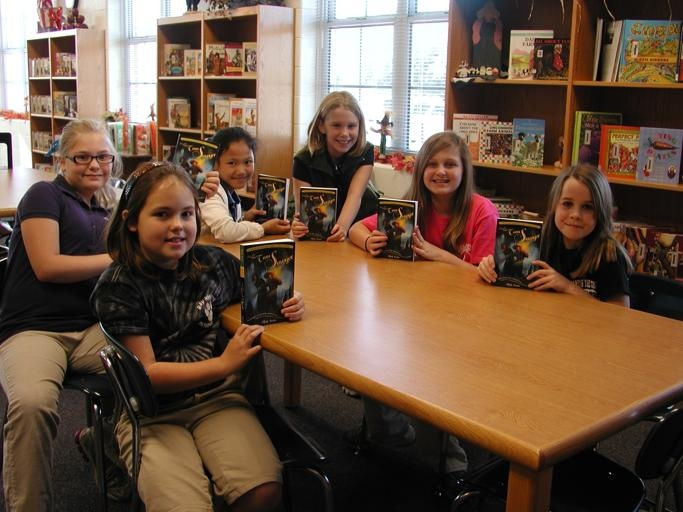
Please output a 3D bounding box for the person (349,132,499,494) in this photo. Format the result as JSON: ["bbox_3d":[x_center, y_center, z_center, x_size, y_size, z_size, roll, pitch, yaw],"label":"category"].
[{"bbox_3d":[0.357,0.228,2.458,0.636,1.546,0.613,7,13,13],"label":"person"}]

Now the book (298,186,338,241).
[{"bbox_3d":[-0.113,-0.191,2.383,0.209,0.316,0.041,4,9,5],"label":"book"}]

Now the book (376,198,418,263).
[{"bbox_3d":[0.231,-0.097,2.107,0.222,0.336,0.042,4,0,23],"label":"book"}]

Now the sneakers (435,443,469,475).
[{"bbox_3d":[0.489,0.896,2.237,0.116,0.129,0.121,7,-23,-18],"label":"sneakers"}]

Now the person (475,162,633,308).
[{"bbox_3d":[0.913,-0.019,2.121,0.535,0.735,0.353,10,17,34],"label":"person"}]

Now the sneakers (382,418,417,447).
[{"bbox_3d":[0.282,0.861,2.455,0.131,0.139,0.105,-9,-19,16],"label":"sneakers"}]

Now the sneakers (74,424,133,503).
[{"bbox_3d":[-0.970,0.777,2.028,0.085,0.285,0.188,-4,-25,30],"label":"sneakers"}]
